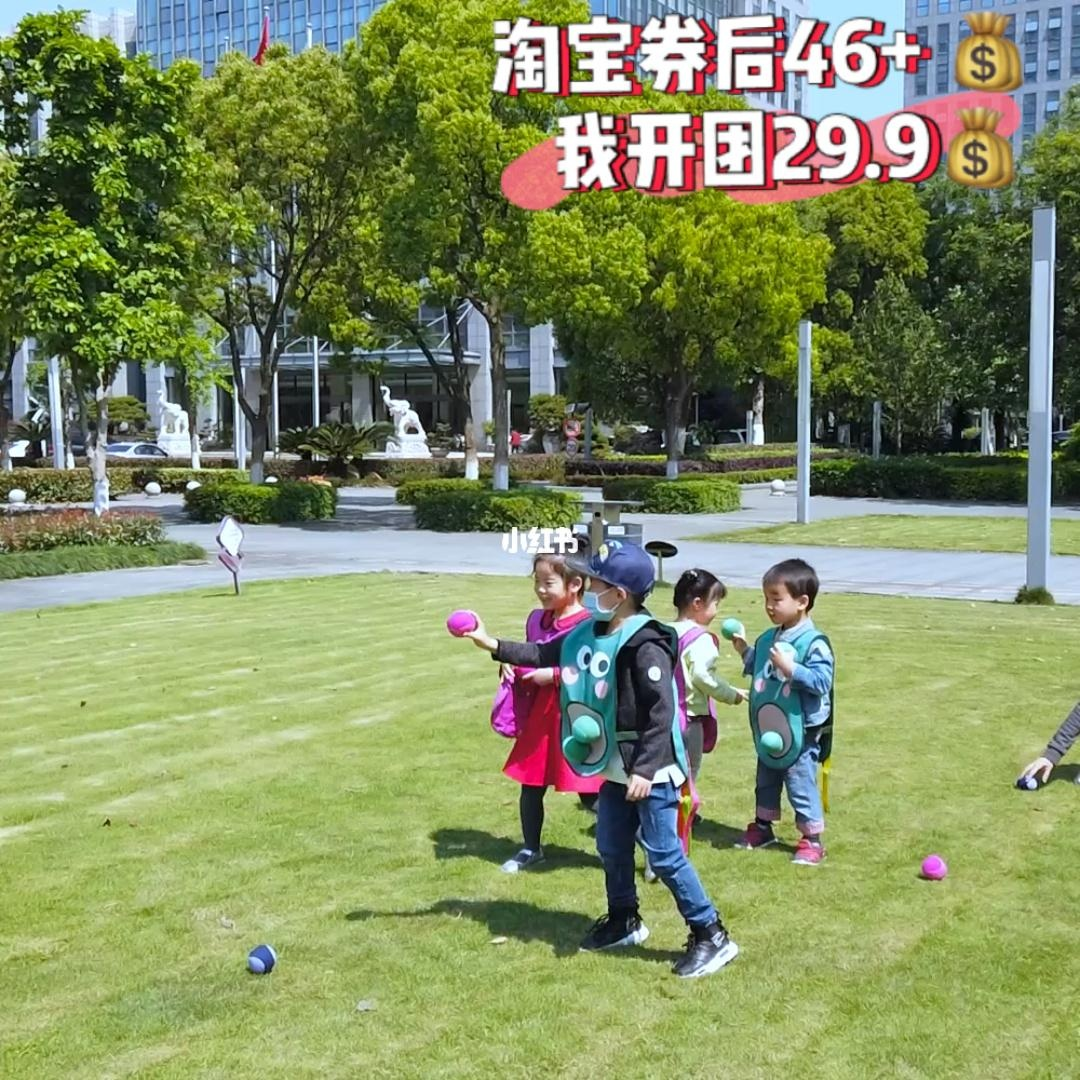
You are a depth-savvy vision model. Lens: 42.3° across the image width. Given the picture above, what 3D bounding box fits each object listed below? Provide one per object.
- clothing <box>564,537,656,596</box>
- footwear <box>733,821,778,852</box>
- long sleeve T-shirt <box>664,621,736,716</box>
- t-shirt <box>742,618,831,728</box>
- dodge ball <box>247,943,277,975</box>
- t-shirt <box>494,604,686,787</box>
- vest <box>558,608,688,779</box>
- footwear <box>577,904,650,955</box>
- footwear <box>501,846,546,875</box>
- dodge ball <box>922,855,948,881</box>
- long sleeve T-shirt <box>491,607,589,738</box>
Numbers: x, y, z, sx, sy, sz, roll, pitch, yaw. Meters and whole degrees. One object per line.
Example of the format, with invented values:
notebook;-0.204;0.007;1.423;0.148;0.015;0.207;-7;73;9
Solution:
clothing;0.252;0.124;5.121;0.283;0.181;0.196;25;20;6
footwear;0.981;1.368;6.431;0.213;0.105;0.088;-1;1;-41
long sleeve T-shirt;0.701;0.574;6.311;0.225;0.427;0.418;-3;10;-19
t-shirt;1.068;0.586;6.116;0.401;0.459;0.383;0;5;20
dodge ball;-1.039;1.566;5.204;0.113;0.089;0.122;-1;4;0
t-shirt;0.169;0.583;5.093;0.551;0.600;0.499;1;-6;-25
vest;0.267;0.566;5.200;0.334;0.597;0.447;-1;6;-22
footwear;0.276;1.502;5.370;0.296;0.153;0.109;-3;4;-14
footwear;-0.085;1.415;6.137;0.071;0.085;0.215;-2;-2;38
dodge ball;1.672;1.408;6.012;0.089;0.117;0.095;-10;3;1
long sleeve T-shirt;-0.037;0.608;5.920;0.339;0.617;0.212;11;5;-12
